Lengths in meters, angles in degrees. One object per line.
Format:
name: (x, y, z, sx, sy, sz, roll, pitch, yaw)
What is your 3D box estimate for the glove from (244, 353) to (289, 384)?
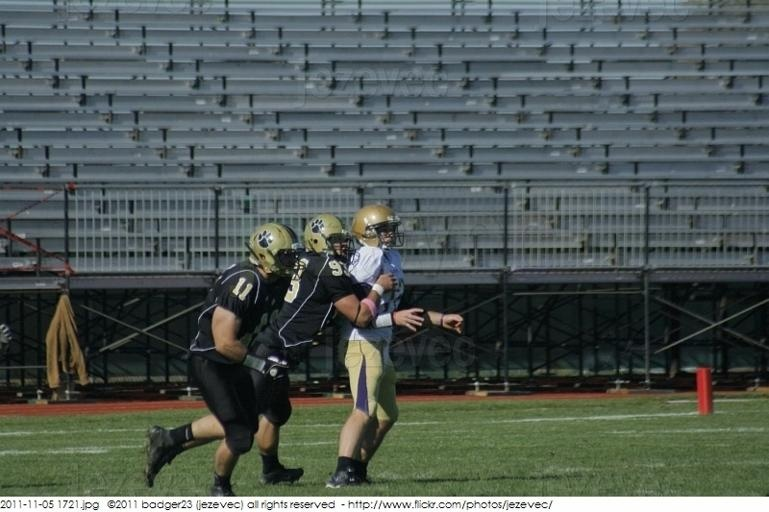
glove: (-2.708, 2.668, 47.403, 0.878, 0.373, 0.589, 14, 1, -1)
